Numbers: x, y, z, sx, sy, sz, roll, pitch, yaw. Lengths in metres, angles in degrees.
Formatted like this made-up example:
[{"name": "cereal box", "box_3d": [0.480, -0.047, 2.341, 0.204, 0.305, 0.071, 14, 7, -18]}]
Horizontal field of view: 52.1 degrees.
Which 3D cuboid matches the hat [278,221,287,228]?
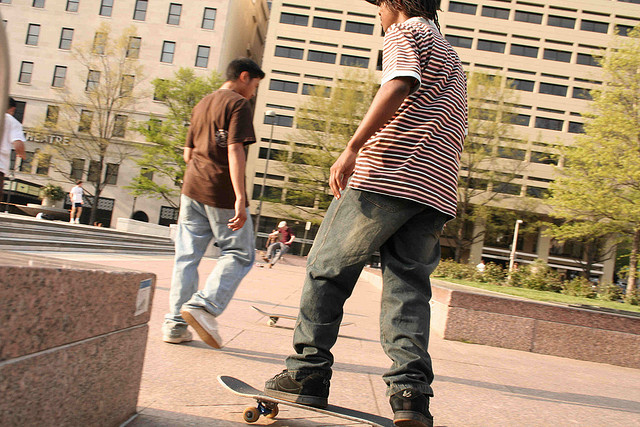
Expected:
[{"name": "hat", "box_3d": [-1.646, 0.430, 28.606, 0.412, 0.204, 0.498, -1, -7, 18]}]
